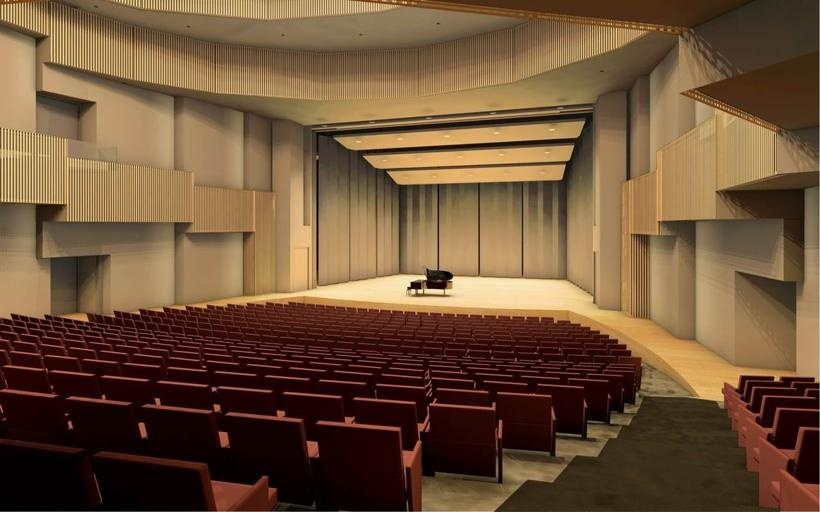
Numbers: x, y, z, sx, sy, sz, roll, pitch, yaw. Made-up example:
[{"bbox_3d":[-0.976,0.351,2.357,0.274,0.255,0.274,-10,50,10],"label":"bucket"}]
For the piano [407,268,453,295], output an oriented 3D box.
[{"bbox_3d":[0.800,0.982,20.995,1.687,0.911,0.903,0,2,6],"label":"piano"}]
